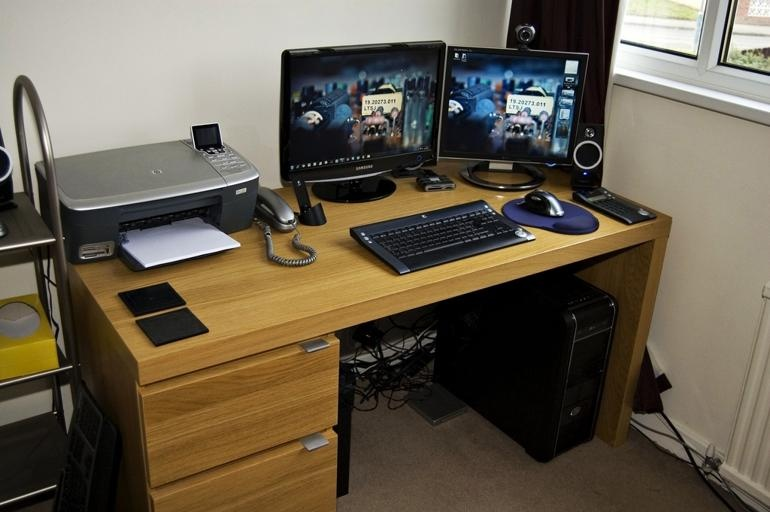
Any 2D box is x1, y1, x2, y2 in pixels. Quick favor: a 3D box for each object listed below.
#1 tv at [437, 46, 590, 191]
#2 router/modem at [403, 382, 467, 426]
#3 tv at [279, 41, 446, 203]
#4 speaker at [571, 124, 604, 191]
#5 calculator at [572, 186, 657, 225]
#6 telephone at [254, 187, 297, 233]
[{"bbox_3d":[0.524,-0.592,2.210,0.639,0.572,0.160,0,27,-3],"label":"tv"},{"bbox_3d":[0.235,0.648,2.651,0.262,0.106,0.315,-8,27,-19],"label":"router/modem"},{"bbox_3d":[-0.101,-0.534,2.157,0.630,0.524,0.071,-9,23,-30],"label":"tv"},{"bbox_3d":[0.866,-0.417,2.329,0.138,0.263,0.154,7,7,44],"label":"speaker"},{"bbox_3d":[0.897,-0.244,2.195,0.150,0.058,0.253,-22,42,-32],"label":"calculator"},{"bbox_3d":[-0.417,-0.199,2.058,0.076,0.097,0.278,-25,45,-30],"label":"telephone"}]
